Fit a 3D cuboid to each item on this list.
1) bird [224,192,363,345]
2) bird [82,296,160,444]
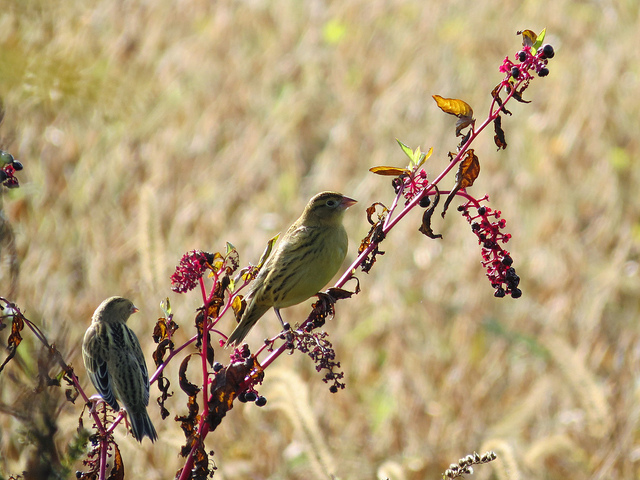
[{"bbox_3d":[-0.171,0.181,8.241,0.843,1.035,0.738,5,19,-6],"label":"bird"},{"bbox_3d":[-1.588,1.047,8.128,0.540,1.430,1.028,-1,21,-21],"label":"bird"}]
